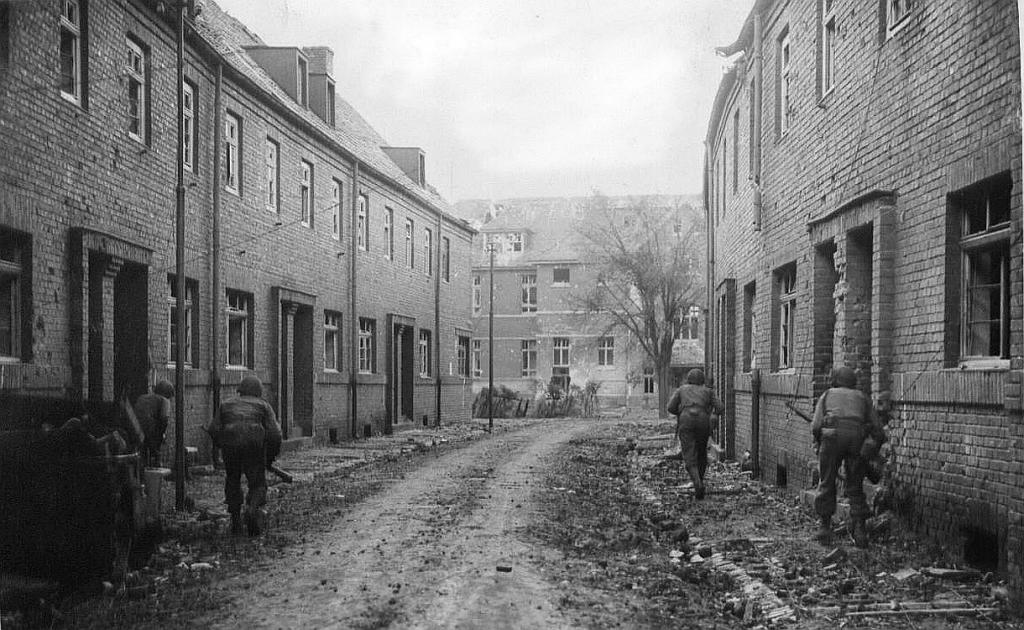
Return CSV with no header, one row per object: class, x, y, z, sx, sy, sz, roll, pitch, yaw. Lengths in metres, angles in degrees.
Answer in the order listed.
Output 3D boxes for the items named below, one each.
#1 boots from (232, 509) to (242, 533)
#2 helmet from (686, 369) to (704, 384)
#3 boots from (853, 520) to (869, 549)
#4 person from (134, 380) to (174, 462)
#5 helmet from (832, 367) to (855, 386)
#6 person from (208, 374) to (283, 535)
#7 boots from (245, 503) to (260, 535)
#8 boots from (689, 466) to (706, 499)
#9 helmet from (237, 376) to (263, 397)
boots,-4.302,3.209,16.336,0.152,0.350,0.398,0,-9,-15
helmet,3.601,1.227,20.549,0.256,0.338,0.353,5,3,10
boots,4.872,3.055,14.711,0.188,0.365,0.300,-4,-9,14
person,-5.865,1.681,17.097,0.531,1.463,1.750,0,-10,-15
helmet,4.934,0.917,15.591,0.224,0.319,0.309,1,-3,13
person,-4.268,2.185,16.805,1.048,2.583,1.440,0,-8,-17
boots,-3.993,3.137,16.133,0.226,0.472,0.250,0,-8,-16
boots,3.401,3.093,19.473,0.289,0.597,0.996,-3,-10,9
helmet,-4.312,1.149,17.240,0.334,0.448,0.418,9,6,-11
